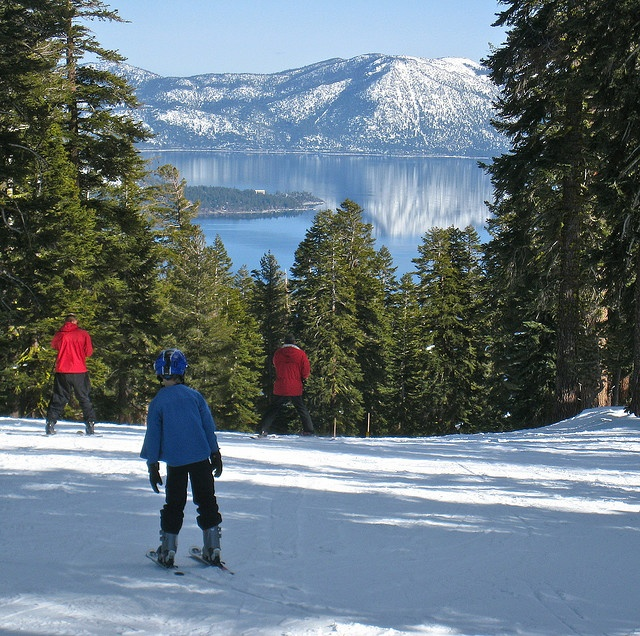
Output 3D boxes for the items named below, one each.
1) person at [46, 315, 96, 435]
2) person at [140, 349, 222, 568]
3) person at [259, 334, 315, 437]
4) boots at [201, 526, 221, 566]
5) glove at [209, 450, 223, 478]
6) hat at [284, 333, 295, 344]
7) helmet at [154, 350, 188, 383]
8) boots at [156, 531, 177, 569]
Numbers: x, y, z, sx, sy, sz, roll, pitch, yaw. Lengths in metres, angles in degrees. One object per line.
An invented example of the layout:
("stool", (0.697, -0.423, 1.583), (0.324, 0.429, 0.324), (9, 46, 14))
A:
("person", (-4.698, 1.104, 22.456), (0.885, 2.404, 0.643), (-1, 10, -12))
("person", (-1.956, 1.952, 17.005), (1.146, 2.995, 0.793), (0, 10, -6))
("person", (-0.668, 1.253, 23.938), (1.001, 2.190, 0.769), (-1, 19, -11))
("boots", (-1.542, 3.226, 16.981), (0.193, 0.518, 0.664), (3, 6, -7))
("glove", (-1.465, 2.085, 17.189), (0.222, 0.331, 0.098), (1, -2, 9))
("hat", (-0.583, 0.405, 23.453), (0.188, 0.256, 0.471), (1, 11, -2))
("helmet", (-2.120, 0.667, 17.130), (0.381, 0.462, 0.460), (2, 5, 0))
("boots", (-2.142, 3.243, 16.854), (0.229, 0.520, 0.523), (4, 17, -16))
